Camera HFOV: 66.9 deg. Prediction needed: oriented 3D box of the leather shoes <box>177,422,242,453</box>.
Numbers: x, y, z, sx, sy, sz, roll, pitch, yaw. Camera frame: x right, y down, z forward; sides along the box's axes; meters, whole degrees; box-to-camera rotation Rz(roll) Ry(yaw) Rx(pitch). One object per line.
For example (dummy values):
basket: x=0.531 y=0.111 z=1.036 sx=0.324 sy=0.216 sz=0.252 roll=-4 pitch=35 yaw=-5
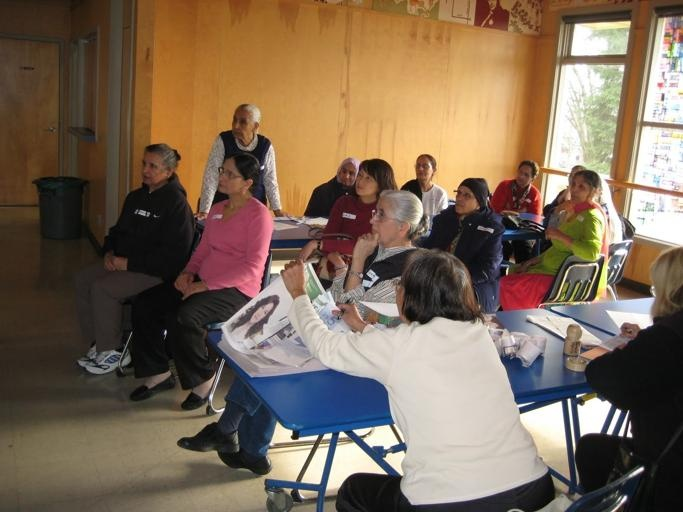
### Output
leather shoes: x=-0.767 y=1.035 z=2.997 sx=0.403 sy=0.195 sz=0.154 roll=3 pitch=-4 yaw=3

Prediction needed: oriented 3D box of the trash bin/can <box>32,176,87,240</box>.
trash bin/can: x=-3.930 y=-0.659 z=7.488 sx=0.846 sy=1.001 sz=0.820 roll=-1 pitch=4 yaw=-36

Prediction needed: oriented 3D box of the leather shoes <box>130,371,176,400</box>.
leather shoes: x=-1.293 y=0.901 z=3.596 sx=0.292 sy=0.114 sz=0.104 roll=-13 pitch=15 yaw=-42

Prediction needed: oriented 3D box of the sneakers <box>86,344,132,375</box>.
sneakers: x=-1.703 y=0.759 z=3.886 sx=0.349 sy=0.159 sz=0.126 roll=-6 pitch=13 yaw=-33

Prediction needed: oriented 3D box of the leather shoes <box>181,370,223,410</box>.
leather shoes: x=-0.948 y=0.922 z=3.522 sx=0.124 sy=0.333 sz=0.094 roll=34 pitch=-2 yaw=22
